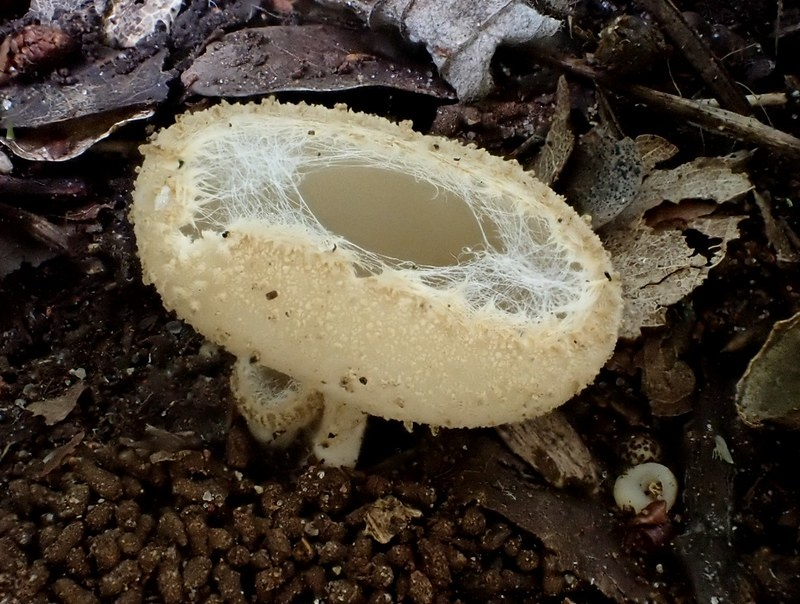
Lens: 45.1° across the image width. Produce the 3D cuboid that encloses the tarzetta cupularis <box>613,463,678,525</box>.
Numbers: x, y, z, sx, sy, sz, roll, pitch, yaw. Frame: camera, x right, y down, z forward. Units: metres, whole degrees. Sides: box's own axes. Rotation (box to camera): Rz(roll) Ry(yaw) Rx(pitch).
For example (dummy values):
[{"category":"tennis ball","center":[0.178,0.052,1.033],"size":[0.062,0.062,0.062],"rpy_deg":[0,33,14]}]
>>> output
[{"category":"tarzetta cupularis","center":[0.715,0.544,2.785],"size":[0.186,0.066,0.143],"rpy_deg":[-1,83,0]}]
